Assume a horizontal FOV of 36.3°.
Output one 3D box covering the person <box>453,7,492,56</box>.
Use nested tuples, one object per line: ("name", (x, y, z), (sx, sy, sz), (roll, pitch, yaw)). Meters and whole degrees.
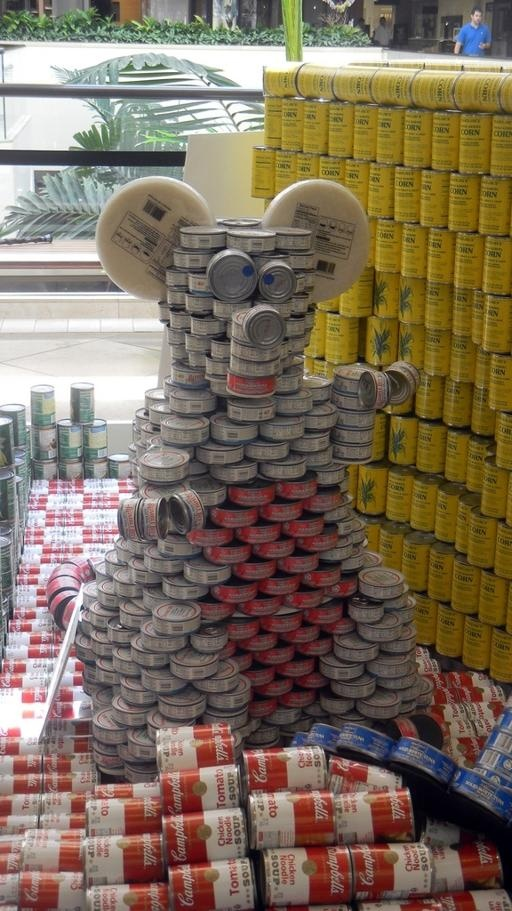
("person", (2.256, -4.405, 8.190), (0.341, 0.564, 0.770), (3, 12, 20))
